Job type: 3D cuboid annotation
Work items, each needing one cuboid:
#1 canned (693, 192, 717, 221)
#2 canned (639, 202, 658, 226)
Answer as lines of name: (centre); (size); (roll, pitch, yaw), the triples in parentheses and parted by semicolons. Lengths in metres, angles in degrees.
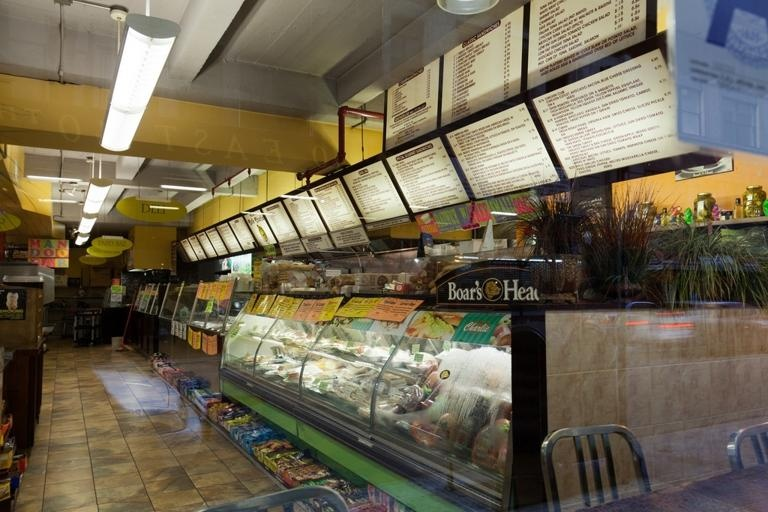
canned: (1.645, -0.249, 2.443); (0.100, 0.166, 0.057); (-7, -2, 36)
canned: (1.378, -0.215, 2.496); (0.098, 0.115, 0.044); (3, -28, 4)
